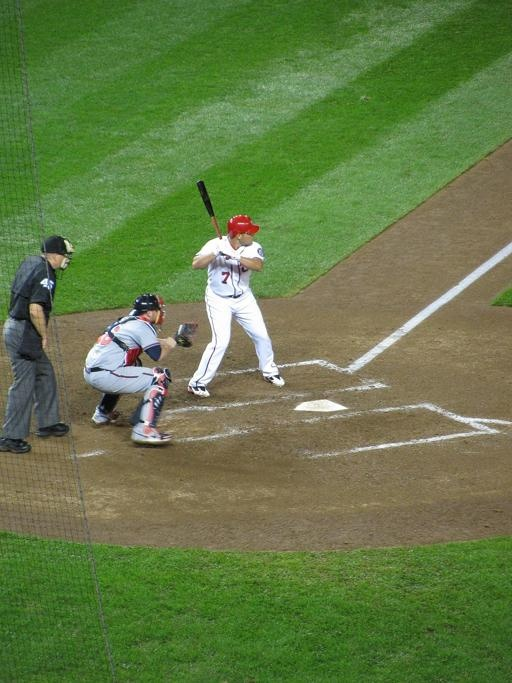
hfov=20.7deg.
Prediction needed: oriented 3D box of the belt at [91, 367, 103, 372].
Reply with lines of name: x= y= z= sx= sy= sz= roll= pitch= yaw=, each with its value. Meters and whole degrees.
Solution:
belt: x=-1.448 y=0.242 z=12.194 sx=0.094 sy=0.027 sz=0.029 roll=-4 pitch=-2 yaw=3

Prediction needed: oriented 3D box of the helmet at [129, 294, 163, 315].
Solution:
helmet: x=-1.009 y=-0.338 z=12.291 sx=0.257 sy=0.196 sz=0.182 roll=-19 pitch=33 yaw=-17

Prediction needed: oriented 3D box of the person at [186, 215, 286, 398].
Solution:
person: x=-0.267 y=-0.342 z=13.379 sx=0.844 sy=1.396 sz=0.812 roll=-6 pitch=-2 yaw=30

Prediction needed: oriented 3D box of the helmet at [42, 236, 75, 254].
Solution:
helmet: x=-1.769 y=-0.836 z=12.062 sx=0.155 sy=0.108 sz=0.224 roll=20 pitch=18 yaw=39

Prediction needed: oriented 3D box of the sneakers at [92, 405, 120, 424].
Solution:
sneakers: x=-1.387 y=0.665 z=12.741 sx=0.118 sy=0.132 sz=0.312 roll=17 pitch=16 yaw=26

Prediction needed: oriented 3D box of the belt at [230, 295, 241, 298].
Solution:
belt: x=-0.223 y=-0.430 z=13.367 sx=0.051 sy=0.015 sz=0.038 roll=2 pitch=14 yaw=42

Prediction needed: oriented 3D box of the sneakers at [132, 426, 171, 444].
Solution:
sneakers: x=-0.966 y=0.811 z=12.218 sx=0.412 sy=0.218 sz=0.134 roll=0 pitch=9 yaw=-2

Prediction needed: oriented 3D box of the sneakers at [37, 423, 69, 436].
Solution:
sneakers: x=-1.856 y=0.792 z=12.372 sx=0.274 sy=0.103 sz=0.164 roll=-6 pitch=-36 yaw=-4

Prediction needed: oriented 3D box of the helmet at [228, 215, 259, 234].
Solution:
helmet: x=-0.152 y=-1.085 z=13.128 sx=0.269 sy=0.110 sz=0.179 roll=-3 pitch=25 yaw=0

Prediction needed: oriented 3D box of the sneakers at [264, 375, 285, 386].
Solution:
sneakers: x=0.153 y=0.368 z=13.584 sx=0.183 sy=0.070 sz=0.095 roll=21 pitch=40 yaw=27

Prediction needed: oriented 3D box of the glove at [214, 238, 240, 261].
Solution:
glove: x=-0.336 y=-0.842 z=13.041 sx=0.231 sy=0.210 sz=0.074 roll=33 pitch=-46 yaw=-18

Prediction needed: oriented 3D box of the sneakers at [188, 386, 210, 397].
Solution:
sneakers: x=-0.572 y=0.457 z=13.313 sx=0.227 sy=0.083 sz=0.089 roll=13 pitch=26 yaw=37
